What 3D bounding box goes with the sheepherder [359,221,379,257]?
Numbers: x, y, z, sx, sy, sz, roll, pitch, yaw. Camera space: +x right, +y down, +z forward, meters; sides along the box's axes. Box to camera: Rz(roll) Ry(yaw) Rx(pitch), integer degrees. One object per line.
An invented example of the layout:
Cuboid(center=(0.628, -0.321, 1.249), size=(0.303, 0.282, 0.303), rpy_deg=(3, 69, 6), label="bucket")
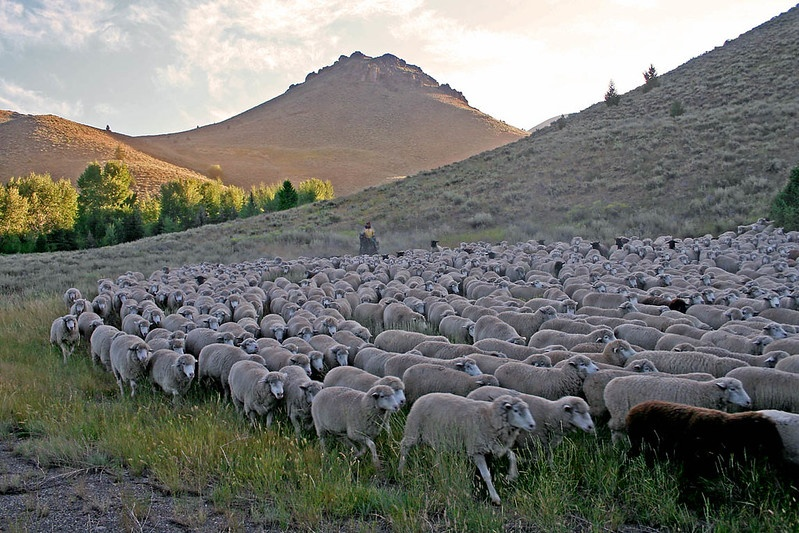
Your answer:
Cuboid(center=(-1.776, -1.617, 37.191), size=(0.978, 1.813, 1.832), rpy_deg=(3, -1, -3), label="sheepherder")
